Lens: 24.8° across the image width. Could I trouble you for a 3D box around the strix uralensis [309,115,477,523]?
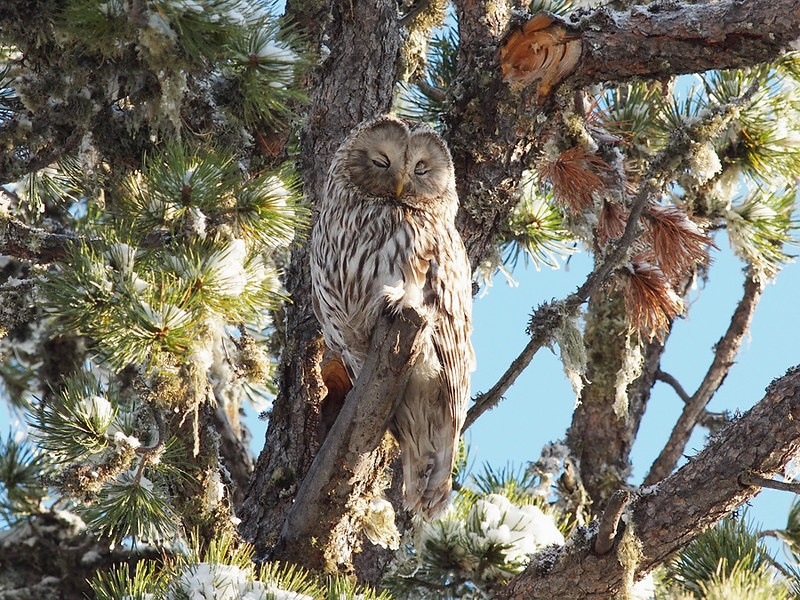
[{"bbox_3d":[0.069,0.013,10.315,0.718,1.854,1.158,-3,-23,39],"label":"strix uralensis"}]
